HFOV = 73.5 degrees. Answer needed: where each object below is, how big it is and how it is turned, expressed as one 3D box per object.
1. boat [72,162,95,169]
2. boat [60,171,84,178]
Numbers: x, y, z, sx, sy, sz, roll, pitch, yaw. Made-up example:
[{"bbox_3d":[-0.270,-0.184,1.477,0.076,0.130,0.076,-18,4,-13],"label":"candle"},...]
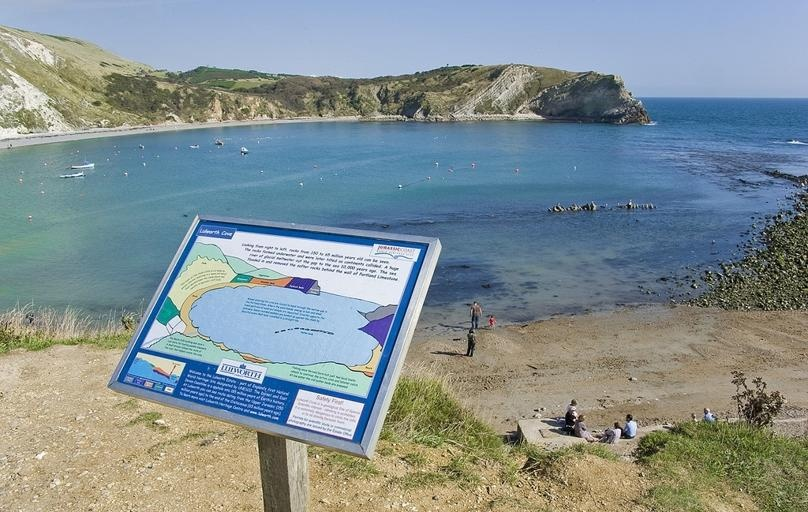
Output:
[{"bbox_3d":[-39.444,-11.085,66.974,2.189,0.432,3.226,-3,19,-6],"label":"boat"},{"bbox_3d":[-37.495,-9.299,61.560,2.239,0.381,1.066,-3,11,-19],"label":"boat"}]
